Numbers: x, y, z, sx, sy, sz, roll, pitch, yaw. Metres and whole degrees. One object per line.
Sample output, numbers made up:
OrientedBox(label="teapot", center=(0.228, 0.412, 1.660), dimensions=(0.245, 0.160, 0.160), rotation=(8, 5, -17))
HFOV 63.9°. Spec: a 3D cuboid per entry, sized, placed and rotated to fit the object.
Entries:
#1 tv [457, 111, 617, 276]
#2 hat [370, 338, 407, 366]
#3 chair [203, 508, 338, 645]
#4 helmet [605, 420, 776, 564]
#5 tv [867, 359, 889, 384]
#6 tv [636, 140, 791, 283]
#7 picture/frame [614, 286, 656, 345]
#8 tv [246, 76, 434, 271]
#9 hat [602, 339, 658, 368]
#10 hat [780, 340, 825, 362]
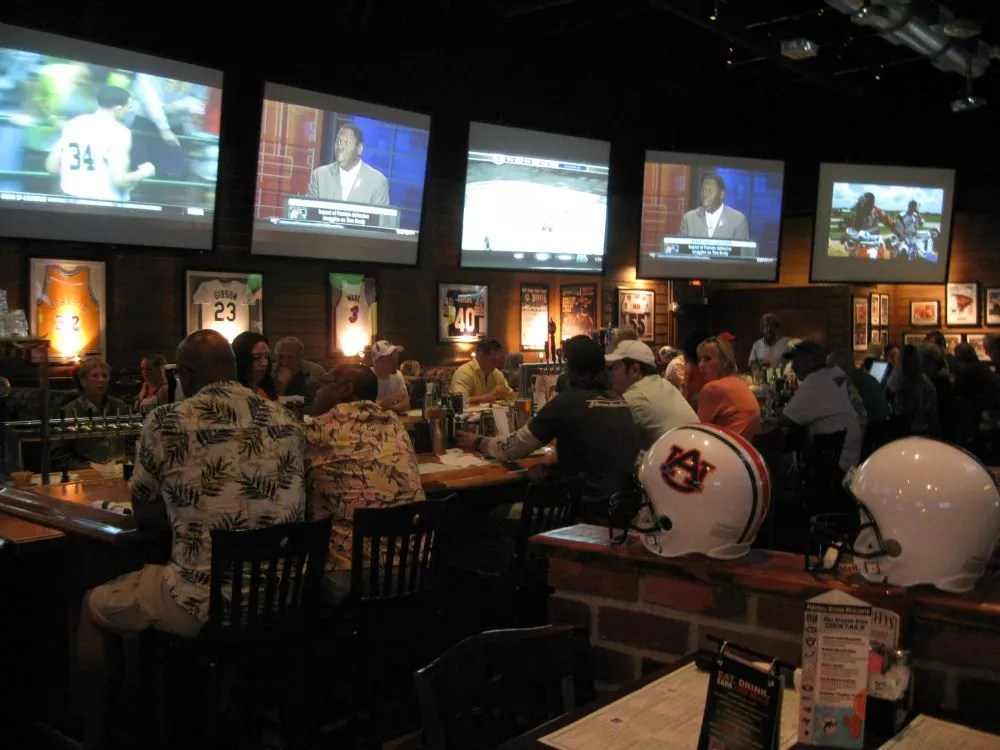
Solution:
OrientedBox(label="tv", center=(0.313, -1.813, 8.164), dimensions=(1.987, 1.607, 0.075), rotation=(-1, 15, -31))
OrientedBox(label="hat", center=(-0.935, -0.167, 6.522), dimensions=(0.269, 0.142, 0.180), rotation=(-20, 6, 13))
OrientedBox(label="chair", center=(-0.850, 0.671, 3.062), dimensions=(0.402, 0.665, 0.439), rotation=(-2, 18, -27))
OrientedBox(label="helmet", center=(0.525, 0.303, 2.140), dimensions=(0.388, 0.323, 0.289), rotation=(1, -1, 43))
OrientedBox(label="tv", center=(3.488, -0.022, 7.396), dimensions=(0.046, 0.191, 0.191), rotation=(23, 1, -37))
OrientedBox(label="tv", center=(2.274, -1.759, 8.787), dimensions=(2.051, 1.734, 0.205), rotation=(1, 8, -11))
OrientedBox(label="picture/frame", center=(1.574, -0.724, 9.500), dimensions=(0.846, 0.794, 0.113), rotation=(6, -8, -44))
OrientedBox(label="tv", center=(-1.420, -1.698, 6.860), dimensions=(1.907, 1.586, 0.247), rotation=(-1, 24, -33))
OrientedBox(label="hat", center=(0.795, -0.129, 4.863), dimensions=(0.236, 0.131, 0.175), rotation=(11, 1, 14))
OrientedBox(label="hat", center=(2.377, -0.177, 6.333), dimensions=(0.278, 0.145, 0.204), rotation=(11, 1, 27))
